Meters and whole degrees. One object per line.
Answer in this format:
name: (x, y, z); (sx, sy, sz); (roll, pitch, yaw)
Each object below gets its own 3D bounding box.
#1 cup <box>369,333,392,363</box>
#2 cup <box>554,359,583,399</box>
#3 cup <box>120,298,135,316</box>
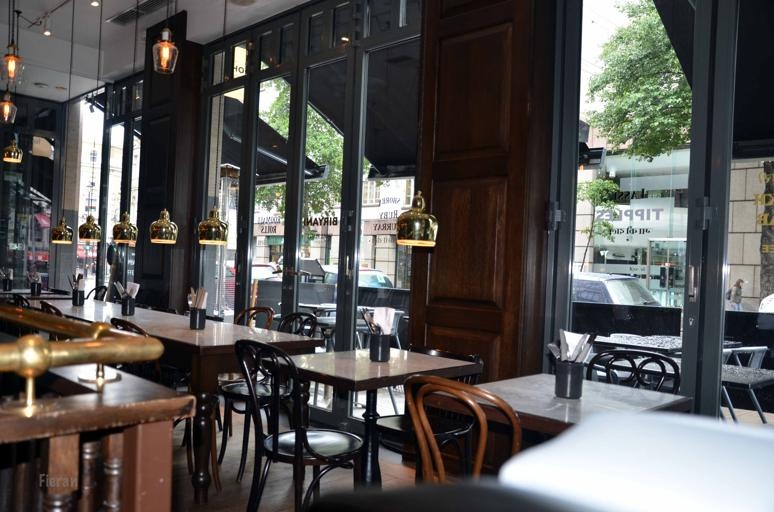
cup: (-0.034, 0.525, 3.467); (0.150, 0.155, 0.122); (-2, -7, 20)
cup: (0.856, 0.581, 2.873); (0.162, 0.179, 0.160); (0, -7, 0)
cup: (-2.122, 0.423, 5.019); (0.141, 0.156, 0.137); (0, -2, 0)
